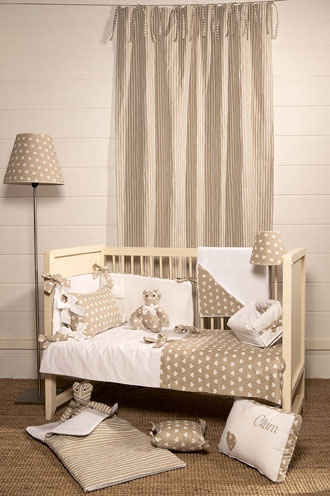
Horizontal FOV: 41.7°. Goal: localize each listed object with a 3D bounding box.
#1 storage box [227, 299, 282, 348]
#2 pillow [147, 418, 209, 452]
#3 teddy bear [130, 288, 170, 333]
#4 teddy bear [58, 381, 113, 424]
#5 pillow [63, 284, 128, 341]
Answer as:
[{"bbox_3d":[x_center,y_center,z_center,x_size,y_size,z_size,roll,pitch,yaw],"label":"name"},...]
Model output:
[{"bbox_3d":[0.353,0.306,1.751,0.187,0.083,0.180,-37,25,-33],"label":"storage box"},{"bbox_3d":[0.052,0.711,1.669,0.225,0.092,0.224,0,0,-3],"label":"pillow"},{"bbox_3d":[-0.078,0.303,2.074,0.193,0.204,0.128,2,5,19],"label":"teddy bear"},{"bbox_3d":[-0.336,0.648,1.821,0.207,0.171,0.091,0,7,-5],"label":"teddy bear"},{"bbox_3d":[-0.322,0.291,1.960,0.068,0.171,0.256,-21,-4,22],"label":"pillow"}]
